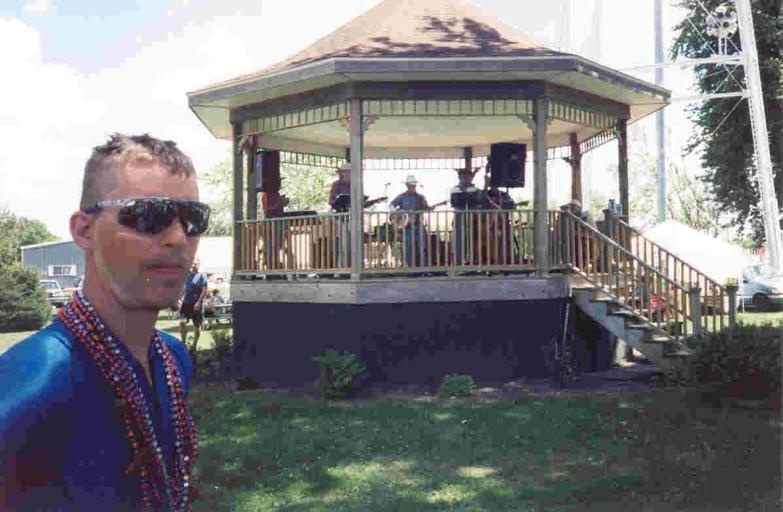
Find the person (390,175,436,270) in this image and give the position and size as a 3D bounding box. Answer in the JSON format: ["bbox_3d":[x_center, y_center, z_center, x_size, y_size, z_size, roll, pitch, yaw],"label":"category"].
[{"bbox_3d":[0.424,-0.575,18.434,0.480,1.947,0.821,-1,4,24],"label":"person"}]

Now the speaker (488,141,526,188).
[{"bbox_3d":[2.898,-2.106,21.094,0.852,1.029,0.857,1,2,-31],"label":"speaker"}]

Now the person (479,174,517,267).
[{"bbox_3d":[2.286,-0.672,19.257,0.765,1.248,2.367,0,14,6],"label":"person"}]

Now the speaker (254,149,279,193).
[{"bbox_3d":[-2.809,-1.972,20.652,0.413,0.911,0.807,6,15,30],"label":"speaker"}]

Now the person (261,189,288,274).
[{"bbox_3d":[-2.489,-0.347,19.469,0.481,1.868,0.348,-1,1,-28],"label":"person"}]

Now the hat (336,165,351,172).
[{"bbox_3d":[-1.048,-2.033,20.790,0.374,0.166,0.460,0,-3,-10],"label":"hat"}]

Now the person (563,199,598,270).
[{"bbox_3d":[4.112,-0.325,19.501,0.659,1.637,0.663,-2,-20,4],"label":"person"}]
